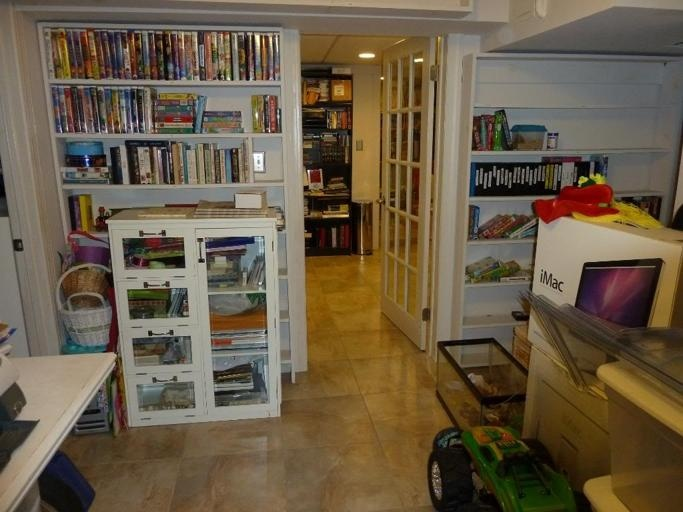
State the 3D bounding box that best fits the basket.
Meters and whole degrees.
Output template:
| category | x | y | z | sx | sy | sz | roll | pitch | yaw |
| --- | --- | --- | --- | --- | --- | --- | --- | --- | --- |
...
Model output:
| category | x | y | z | sx | sy | sz | roll | pitch | yaw |
| --- | --- | --- | --- | --- | --- | --- | --- | --- | --- |
| basket | -1.764 | 0.337 | 3.603 | 0.394 | 0.588 | 0.331 | -9 | 17 | -16 |
